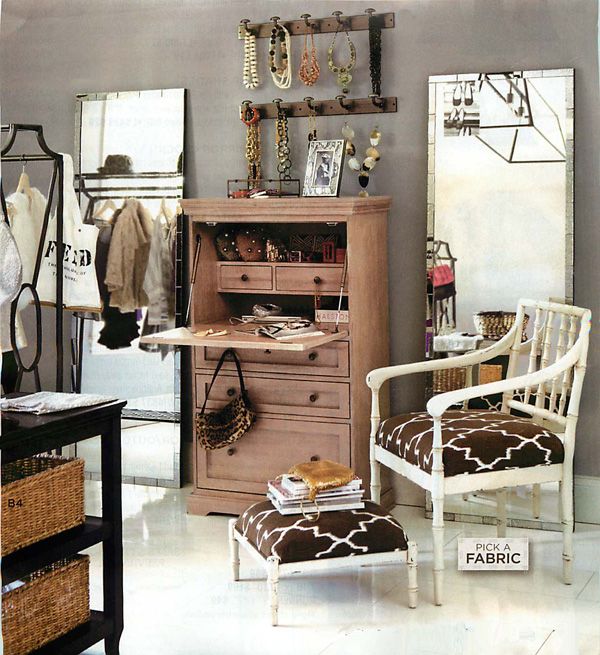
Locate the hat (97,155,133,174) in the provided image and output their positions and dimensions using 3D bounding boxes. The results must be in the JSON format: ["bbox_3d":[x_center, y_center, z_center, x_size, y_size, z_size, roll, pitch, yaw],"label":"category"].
[{"bbox_3d":[-0.951,-0.848,3.934,0.138,0.067,0.106,0,5,-4],"label":"hat"}]

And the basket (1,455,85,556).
[{"bbox_3d":[-0.648,0.431,1.885,0.165,0.137,0.283,-1,0,17],"label":"basket"}]

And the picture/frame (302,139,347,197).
[{"bbox_3d":[0.108,-0.729,3.444,0.184,0.279,0.226,0,5,13],"label":"picture/frame"}]

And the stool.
[{"bbox_3d":[0.093,0.763,2.653,0.630,0.347,0.546,-3,6,-16],"label":"stool"}]

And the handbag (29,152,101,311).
[{"bbox_3d":[-1.043,-0.403,3.334,0.217,0.679,0.347,-2,5,-2],"label":"handbag"}]
